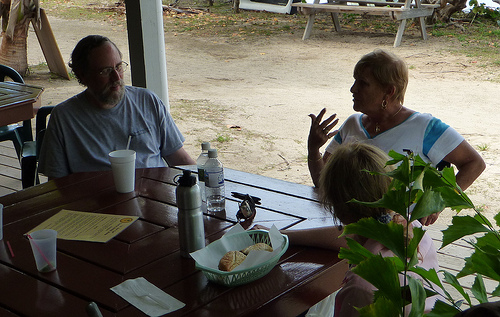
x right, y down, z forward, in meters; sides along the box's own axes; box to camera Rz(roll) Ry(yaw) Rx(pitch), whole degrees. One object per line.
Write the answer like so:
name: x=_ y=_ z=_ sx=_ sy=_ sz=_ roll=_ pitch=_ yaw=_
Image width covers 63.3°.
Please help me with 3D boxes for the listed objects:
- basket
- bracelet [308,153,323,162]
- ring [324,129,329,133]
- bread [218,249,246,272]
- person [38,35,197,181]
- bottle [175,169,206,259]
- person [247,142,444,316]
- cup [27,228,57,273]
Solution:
basket: x=-0.043 y=0.402 z=1.715 sx=0.306 sy=0.075 sz=0.250 roll=-21 pitch=22 yaw=-38
bracelet: x=0.456 y=-0.012 z=2.842 sx=0.069 sy=0.036 sz=0.079 roll=-2 pitch=1 yaw=-3
ring: x=0.517 y=-0.190 z=2.744 sx=0.031 sy=0.026 sz=0.007 roll=0 pitch=-1 yaw=16
bread: x=-0.066 y=0.418 z=1.660 sx=0.124 sy=0.066 sz=0.093 roll=-4 pitch=21 yaw=-26
person: x=-1.025 y=-0.389 z=3.048 sx=1.060 sy=0.994 sz=0.537 roll=0 pitch=21 yaw=-14
bottle: x=-0.260 y=0.245 z=1.748 sx=0.158 sy=0.394 sz=0.112 roll=12 pitch=22 yaw=17
person: x=0.508 y=0.327 z=1.719 sx=0.507 sy=0.733 sz=0.590 roll=-3 pitch=21 yaw=-23
cup: x=-0.894 y=0.392 z=1.752 sx=0.102 sy=0.158 sz=0.143 roll=-6 pitch=22 yaw=-28
